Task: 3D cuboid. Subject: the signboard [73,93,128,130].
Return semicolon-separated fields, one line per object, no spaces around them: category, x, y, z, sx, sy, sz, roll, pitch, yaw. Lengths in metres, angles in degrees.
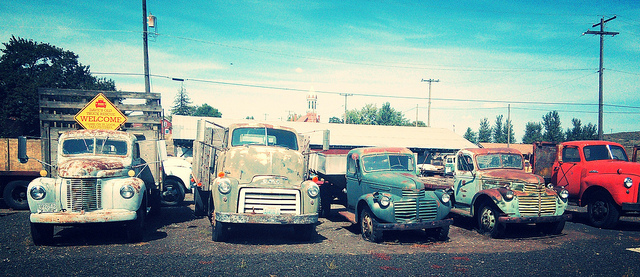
signboard;-17.458;-1.694;38.978;3.273;2.571;7.682;2;-1;-18

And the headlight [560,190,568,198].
headlight;16.121;3.667;35.635;0.617;0.491;0.132;0;0;-20

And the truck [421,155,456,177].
truck;8.812;2.075;40.322;3.174;1.251;1.827;-2;-4;22

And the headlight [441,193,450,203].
headlight;8.198;3.881;35.127;0.570;0.598;0.214;0;0;-24
